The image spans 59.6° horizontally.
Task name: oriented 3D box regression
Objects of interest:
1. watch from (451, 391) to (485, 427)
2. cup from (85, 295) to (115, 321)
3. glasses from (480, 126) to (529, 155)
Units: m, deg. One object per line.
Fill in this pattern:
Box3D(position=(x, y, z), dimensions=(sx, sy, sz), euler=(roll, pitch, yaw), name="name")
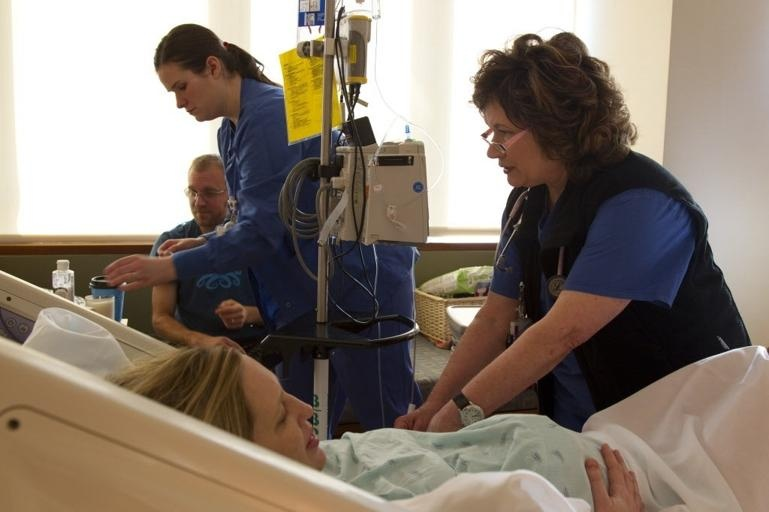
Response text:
Box3D(position=(0.256, 0.472, 2.103), dimensions=(0.092, 0.097, 0.107), euler=(-38, -15, -1), name="watch")
Box3D(position=(-1.115, 0.202, 2.638), dimensions=(0.095, 0.110, 0.097), euler=(1, 2, 0), name="cup")
Box3D(position=(0.378, -0.366, 2.132), dimensions=(0.100, 0.030, 0.095), euler=(-39, 30, -6), name="glasses")
